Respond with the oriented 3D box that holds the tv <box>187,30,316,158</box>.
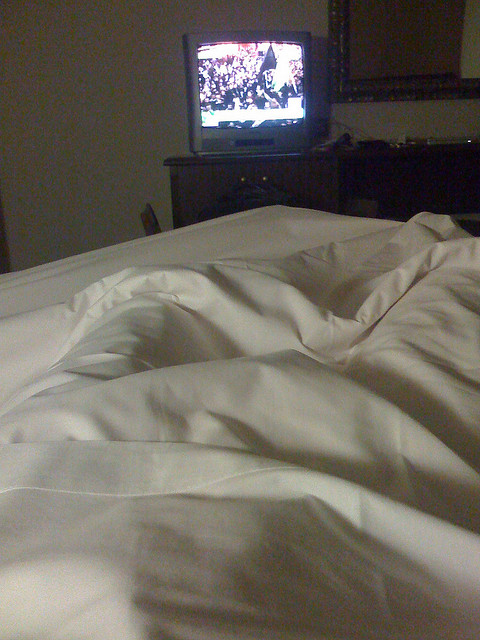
[{"bbox_3d":[0.022,-0.849,2.189,0.493,0.435,0.278,-5,13,-11],"label":"tv"}]
